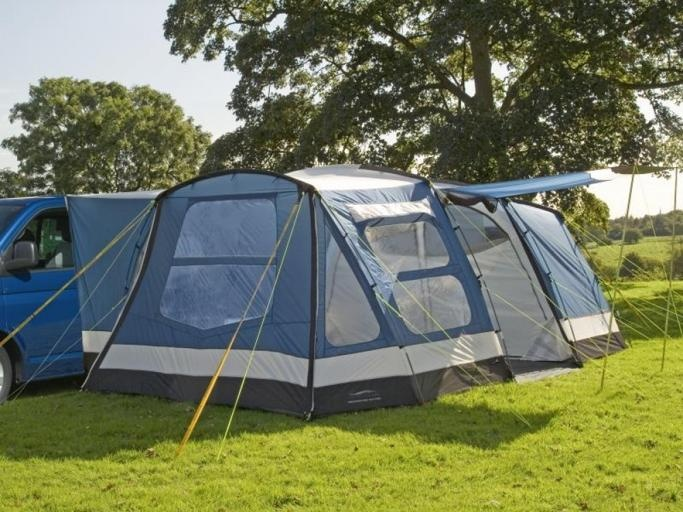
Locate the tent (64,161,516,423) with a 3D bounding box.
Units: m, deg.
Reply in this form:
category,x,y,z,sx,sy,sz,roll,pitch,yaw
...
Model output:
category,x,y,z,sx,sy,sz,roll,pitch,yaw
tent,-0.649,0.570,10.053,3.921,2.699,4.048,1,3,40
